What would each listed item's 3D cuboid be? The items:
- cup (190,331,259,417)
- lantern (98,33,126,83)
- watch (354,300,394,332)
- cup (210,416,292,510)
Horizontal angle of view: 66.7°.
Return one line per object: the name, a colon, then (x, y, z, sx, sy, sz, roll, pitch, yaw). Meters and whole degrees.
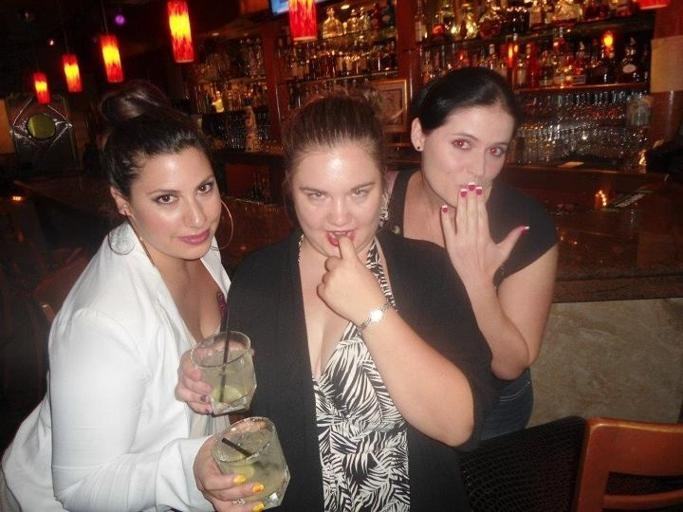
cup: (-0.463, 0.469, 2.058, 0.238, 0.340, 0.180, -8, 16, -8)
lantern: (-3.310, -2.859, 7.490, 0.215, 0.668, 0.476, -12, 18, -22)
watch: (0.118, 0.217, 1.888, 0.109, 0.030, 0.095, -41, -6, 39)
cup: (-0.325, 0.798, 1.900, 0.246, 0.413, 0.184, -9, 17, -13)
